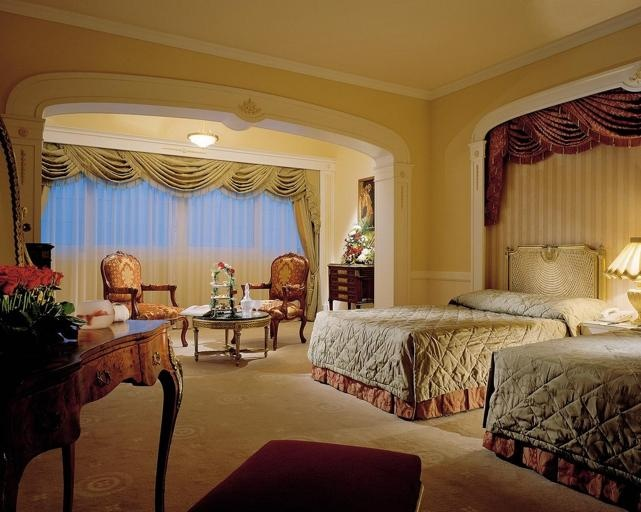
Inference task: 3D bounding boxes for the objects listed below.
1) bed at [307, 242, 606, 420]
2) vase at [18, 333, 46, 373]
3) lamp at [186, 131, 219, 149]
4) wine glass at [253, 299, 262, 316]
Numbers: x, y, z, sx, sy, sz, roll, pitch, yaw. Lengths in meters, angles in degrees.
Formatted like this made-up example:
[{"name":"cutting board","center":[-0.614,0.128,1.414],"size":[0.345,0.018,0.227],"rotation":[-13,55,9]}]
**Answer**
[{"name":"bed","center":[1.438,0.734,4.605],"size":[2.111,1.401,1.701],"rotation":[1,-3,-23]},{"name":"vase","center":[-1.095,0.361,1.744],"size":[0.093,0.106,0.221],"rotation":[0,0,-32]},{"name":"lamp","center":[-1.820,-1.827,7.086],"size":[0.340,0.202,0.311],"rotation":[0,0,41]},{"name":"wine glass","center":[-0.804,0.675,5.841],"size":[0.125,0.217,0.124],"rotation":[-3,5,-42]}]
